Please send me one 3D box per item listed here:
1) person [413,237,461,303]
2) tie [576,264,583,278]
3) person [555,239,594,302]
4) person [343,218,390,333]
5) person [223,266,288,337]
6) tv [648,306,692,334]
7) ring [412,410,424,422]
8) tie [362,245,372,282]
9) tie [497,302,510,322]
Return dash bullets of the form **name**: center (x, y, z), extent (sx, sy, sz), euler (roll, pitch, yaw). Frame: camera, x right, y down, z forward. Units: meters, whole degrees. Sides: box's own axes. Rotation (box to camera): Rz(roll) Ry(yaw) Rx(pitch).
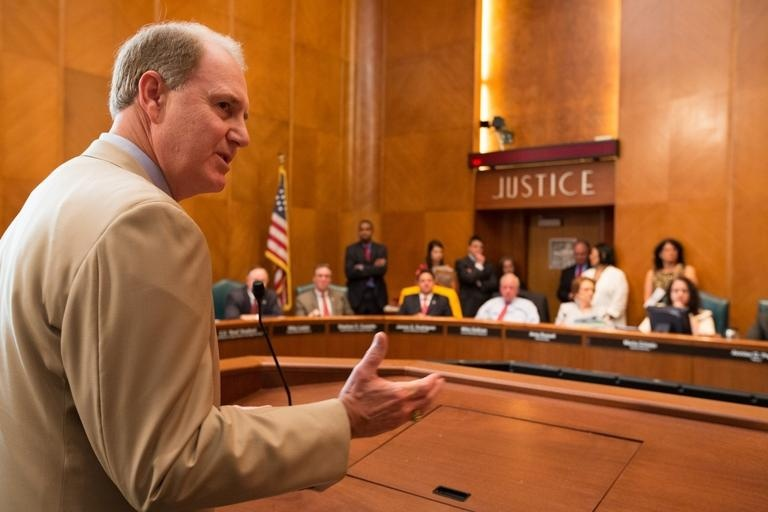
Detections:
- **person**: center (0.566, 0.283, 6.918), extent (0.425, 0.924, 0.305), euler (-18, 24, -39)
- **tie**: center (2.174, 0.161, 6.923), extent (0.047, 0.121, 0.087), euler (25, -11, -33)
- **person**: center (2.216, 0.247, 7.046), extent (0.423, 0.786, 0.419), euler (3, -8, 16)
- **person**: center (-0.183, 0.356, 7.071), extent (0.487, 1.534, 0.452), euler (0, 13, 8)
- **person**: center (-1.248, 0.421, 5.937), extent (0.608, 0.622, 0.823), euler (1, 1, -6)
- **tv**: center (2.287, 0.440, 5.005), extent (0.220, 0.315, 0.326), euler (-5, 1, 25)
- **ring**: center (0.095, 0.447, 1.740), extent (0.030, 0.040, 0.015), euler (21, 21, -10)
- **tie**: center (-0.184, 0.080, 6.978), extent (0.081, 0.399, 0.105), euler (-1, -12, 1)
- **tie**: center (1.134, 0.530, 5.894), extent (0.065, 0.248, 0.036), euler (18, -20, 37)
